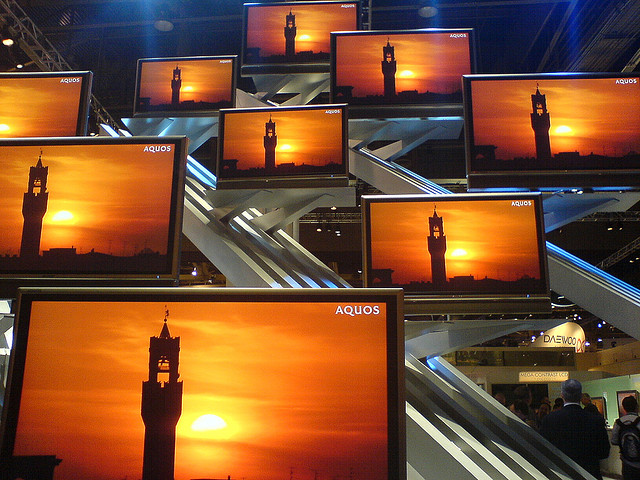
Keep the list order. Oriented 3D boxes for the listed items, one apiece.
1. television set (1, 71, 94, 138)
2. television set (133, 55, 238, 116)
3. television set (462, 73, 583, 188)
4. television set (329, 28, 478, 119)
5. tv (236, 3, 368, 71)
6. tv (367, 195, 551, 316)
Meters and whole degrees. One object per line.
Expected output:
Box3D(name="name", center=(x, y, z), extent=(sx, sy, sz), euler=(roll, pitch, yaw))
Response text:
Box3D(name="television set", center=(-2.840, -1.408, 8.101), extent=(0.977, 0.094, 0.652), euler=(0, 79, -2))
Box3D(name="television set", center=(-1.947, -2.248, 11.400), extent=(1.298, 0.088, 0.743), euler=(-1, 70, 0))
Box3D(name="television set", center=(2.205, -1.172, 8.484), extent=(1.356, 0.133, 1.131), euler=(0, 77, 2))
Box3D(name="television set", center=(1.098, -2.255, 10.516), extent=(1.938, 0.424, 1.417), euler=(-1, 51, -2))
Box3D(name="tv", center=(-0.288, -3.060, 11.777), extent=(1.580, 0.102, 0.852), euler=(0, 73, -2))
Box3D(name="tv", center=(1.362, 0.174, 7.950), extent=(1.341, 0.058, 0.888), euler=(0, 79, 1))
